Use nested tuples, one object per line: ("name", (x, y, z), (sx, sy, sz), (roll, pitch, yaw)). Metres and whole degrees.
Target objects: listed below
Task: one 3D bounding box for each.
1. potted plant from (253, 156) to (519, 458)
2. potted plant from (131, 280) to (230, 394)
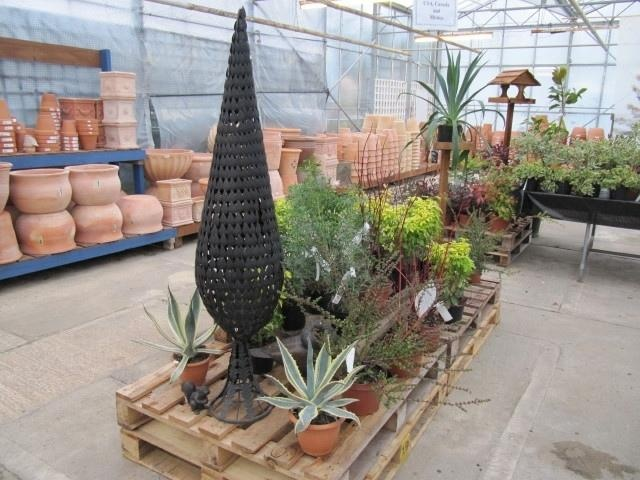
("potted plant", (0.262, 0.408, 2.450), (0.830, 0.572, 1.430), (9, 36, 19))
("potted plant", (-0.786, 0.545, 2.458), (0.386, 0.565, 0.336), (10, 20, 33))
